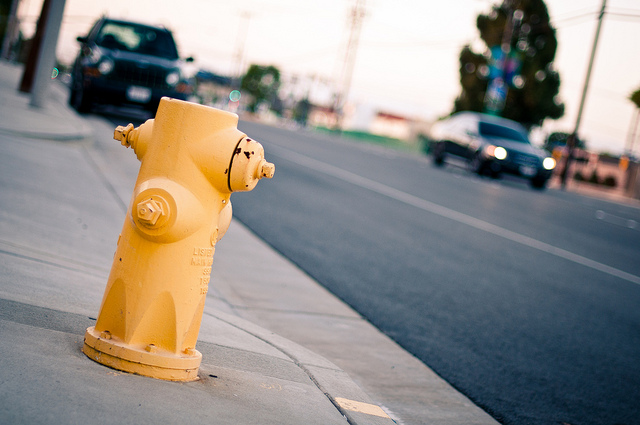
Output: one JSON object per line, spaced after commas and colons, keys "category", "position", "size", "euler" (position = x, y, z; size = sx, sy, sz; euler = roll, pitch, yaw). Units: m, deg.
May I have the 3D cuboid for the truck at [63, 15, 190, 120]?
{"category": "truck", "position": [-5.753, -4.412, 15.080], "size": [2.793, 2.797, 5.636], "euler": [4, 15, -29]}

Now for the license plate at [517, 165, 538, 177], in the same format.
{"category": "license plate", "position": [6.782, -1.361, 16.141], "size": [0.644, 0.356, 0.117], "euler": [3, 13, -8]}
